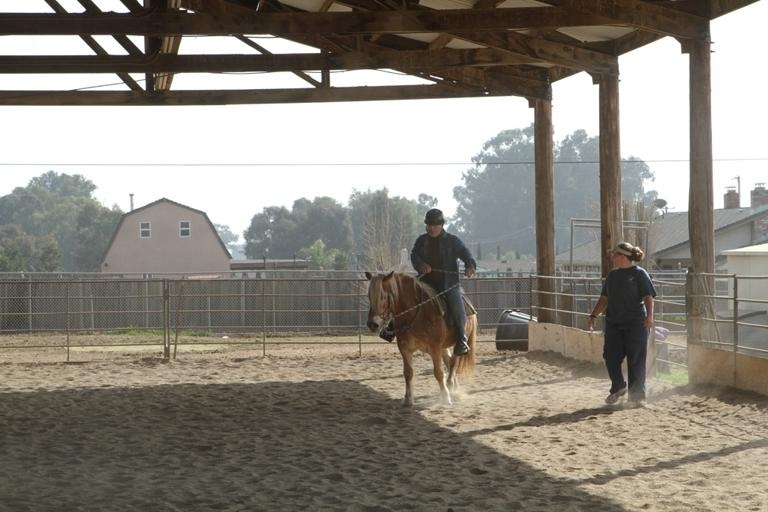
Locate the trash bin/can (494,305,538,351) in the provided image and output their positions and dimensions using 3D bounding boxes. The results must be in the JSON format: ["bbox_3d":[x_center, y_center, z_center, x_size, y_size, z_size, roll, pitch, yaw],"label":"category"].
[{"bbox_3d":[3.090,1.741,26.057,0.742,0.948,0.983,0,-26,23],"label":"trash bin/can"}]

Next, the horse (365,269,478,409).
[{"bbox_3d":[0.718,1.462,20.539,2.370,2.603,1.070,-11,16,-33],"label":"horse"}]

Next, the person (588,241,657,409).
[{"bbox_3d":[4.451,1.246,19.954,0.858,2.883,0.561,2,14,14],"label":"person"}]

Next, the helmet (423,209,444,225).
[{"bbox_3d":[0.940,-0.724,20.476,0.375,0.396,0.436,2,0,2],"label":"helmet"}]
